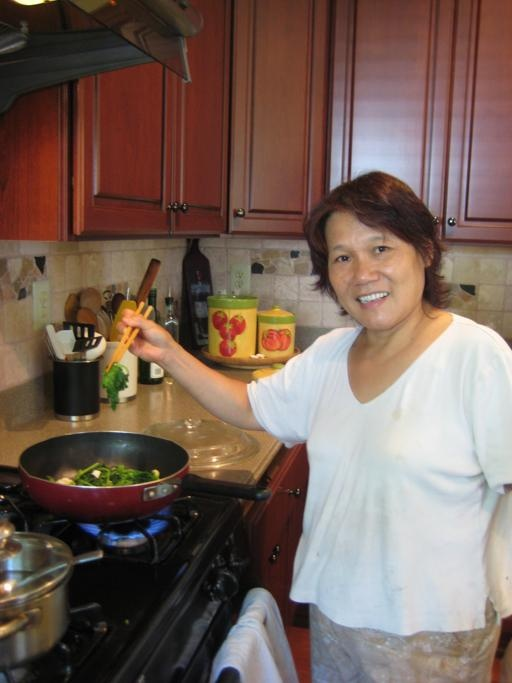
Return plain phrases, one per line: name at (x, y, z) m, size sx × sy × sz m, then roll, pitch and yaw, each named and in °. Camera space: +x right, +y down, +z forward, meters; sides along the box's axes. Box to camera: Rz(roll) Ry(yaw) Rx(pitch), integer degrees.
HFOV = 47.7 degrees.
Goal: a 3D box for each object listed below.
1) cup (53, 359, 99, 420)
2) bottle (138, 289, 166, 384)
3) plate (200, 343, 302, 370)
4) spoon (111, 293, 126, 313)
cup at (-0.451, 0.114, 1.533) m, size 0.172 × 0.137 × 0.161 m, roll 1°, pitch 8°, yaw 0°
bottle at (-0.351, 0.011, 1.954) m, size 0.110 × 0.367 × 0.094 m, roll -1°, pitch 21°, yaw -13°
plate at (0.014, 0.037, 2.362) m, size 0.375 × 0.066 × 0.395 m, roll 3°, pitch 11°, yaw 17°
spoon at (-0.446, -0.126, 1.868) m, size 0.013 × 0.058 × 0.049 m, roll 5°, pitch 5°, yaw 26°
